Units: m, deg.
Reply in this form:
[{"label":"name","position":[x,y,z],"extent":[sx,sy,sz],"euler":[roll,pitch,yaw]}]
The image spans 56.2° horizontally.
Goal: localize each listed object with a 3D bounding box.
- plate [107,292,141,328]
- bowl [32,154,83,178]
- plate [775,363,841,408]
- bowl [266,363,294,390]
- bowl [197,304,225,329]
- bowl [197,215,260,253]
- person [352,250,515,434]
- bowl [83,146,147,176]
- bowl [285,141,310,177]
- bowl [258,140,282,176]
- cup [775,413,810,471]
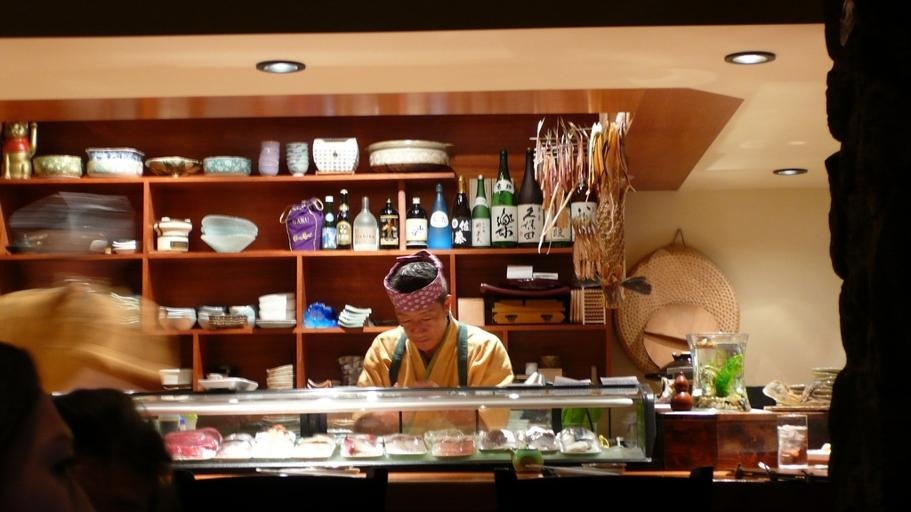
[{"label":"plate","position":[-0.598,0.096,1.559],"extent":[0.071,0.023,0.050],"euler":[7,28,-12]},{"label":"bowl","position":[-2.056,-0.458,4.394],"extent":[0.166,0.060,0.155],"euler":[1,4,0]},{"label":"plate","position":[1.203,0.461,2.956],"extent":[0.179,0.138,0.220],"euler":[1,-3,-12]},{"label":"bowl","position":[-0.898,0.625,4.403],"extent":[0.144,0.122,0.339],"euler":[1,-3,-12]},{"label":"bowl","position":[-1.252,0.321,4.396],"extent":[0.143,0.110,0.118],"euler":[1,-3,-15]},{"label":"bowl","position":[-1.161,-0.110,4.365],"extent":[0.264,0.180,0.093],"euler":[3,-43,-17]},{"label":"person","position":[-0.075,0.304,3.600],"extent":[0.649,0.635,1.781],"euler":[1,-3,-5]},{"label":"bowl","position":[-1.740,-0.491,4.427],"extent":[0.237,0.090,0.167],"euler":[1,2,8]},{"label":"bowl","position":[-0.819,-0.498,4.423],"extent":[0.103,0.180,0.074],"euler":[1,-3,-2]},{"label":"bowl","position":[-0.966,-0.509,4.454],"extent":[0.096,0.200,0.106],"euler":[2,-3,-15]},{"label":"cup","position":[1.117,0.610,2.808],"extent":[0.094,0.171,0.074],"euler":[0,-3,17]}]
